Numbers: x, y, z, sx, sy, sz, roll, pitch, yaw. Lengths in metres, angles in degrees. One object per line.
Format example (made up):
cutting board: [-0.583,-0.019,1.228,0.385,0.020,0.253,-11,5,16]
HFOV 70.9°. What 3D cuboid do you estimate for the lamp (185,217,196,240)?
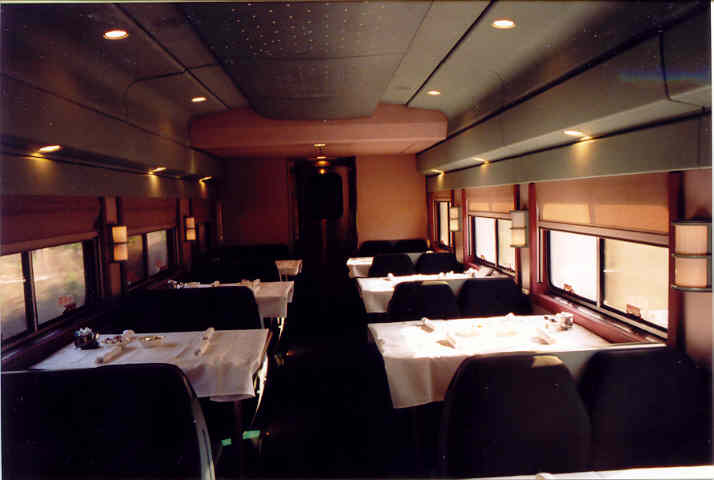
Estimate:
lamp: [-2.878,-0.210,8.705,0.071,0.376,0.185,2,2,33]

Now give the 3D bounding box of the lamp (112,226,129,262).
lamp: [-2.875,0.035,6.130,0.091,0.442,0.233,1,2,5]

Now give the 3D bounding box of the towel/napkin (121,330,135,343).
towel/napkin: [-2.292,0.966,4.989,0.092,0.060,0.153,1,17,-8]

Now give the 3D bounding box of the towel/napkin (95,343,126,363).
towel/napkin: [-2.283,1.052,4.687,0.197,0.115,0.316,0,2,-8]

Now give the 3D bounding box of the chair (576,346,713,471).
chair: [2.249,1.354,3.926,1.064,0.999,0.561,-1,-5,-2]

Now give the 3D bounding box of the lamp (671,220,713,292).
lamp: [2.659,0.121,3.977,0.240,0.529,0.081,2,3,34]

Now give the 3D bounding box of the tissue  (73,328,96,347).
tissue : [-2.637,0.949,4.873,0.166,0.103,0.223,5,6,-6]

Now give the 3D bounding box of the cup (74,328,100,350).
cup: [-2.660,0.962,4.933,0.238,0.192,0.119,-4,6,-10]

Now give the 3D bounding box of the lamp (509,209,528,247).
lamp: [2.017,-0.148,6.236,0.144,0.462,0.177,0,2,-16]

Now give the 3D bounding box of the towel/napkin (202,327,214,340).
towel/napkin: [-1.461,0.922,4.964,0.101,0.093,0.027,-10,-37,34]
